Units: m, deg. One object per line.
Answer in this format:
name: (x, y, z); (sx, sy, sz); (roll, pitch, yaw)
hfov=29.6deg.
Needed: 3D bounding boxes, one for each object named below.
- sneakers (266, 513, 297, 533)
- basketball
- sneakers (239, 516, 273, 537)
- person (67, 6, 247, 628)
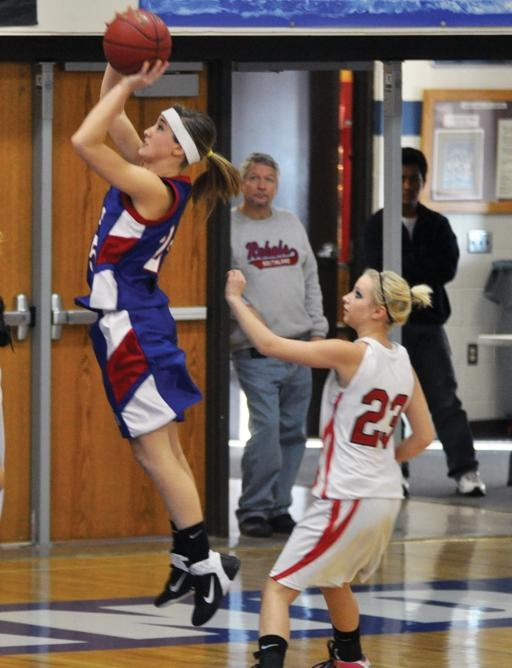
sneakers: (0.072, 0.917, 4.629); (0.225, 0.085, 0.075); (-6, -6, 30)
basketball: (-0.346, -0.854, 2.886); (0.209, 0.189, 0.212); (-9, 26, -38)
sneakers: (0.007, 0.899, 4.468); (0.080, 0.057, 0.144); (2, -8, -14)
person: (-0.307, -0.027, 3.023); (0.589, 1.851, 0.505); (0, 3, -17)
